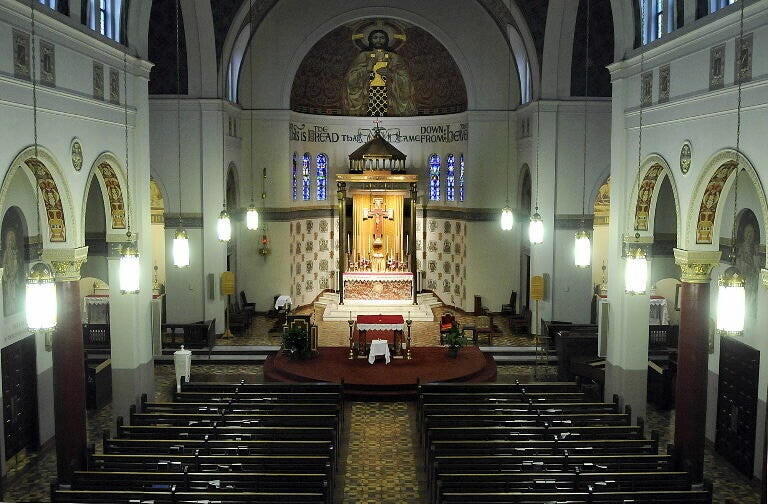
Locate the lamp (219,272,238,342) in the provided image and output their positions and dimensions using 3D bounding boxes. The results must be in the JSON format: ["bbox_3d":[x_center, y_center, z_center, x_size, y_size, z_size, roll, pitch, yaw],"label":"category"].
[{"bbox_3d":[-6.598,2.138,27.704,0.516,2.789,2.189,-2,4,-11],"label":"lamp"}]

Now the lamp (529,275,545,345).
[{"bbox_3d":[6.286,2.233,26.752,0.523,2.654,1.468,0,4,14],"label":"lamp"}]

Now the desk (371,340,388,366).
[{"bbox_3d":[-0.161,3.597,23.449,0.726,0.705,0.738,0,0,-15],"label":"desk"}]

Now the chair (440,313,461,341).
[{"bbox_3d":[2.639,3.082,26.421,0.842,1.272,0.913,0,0,2],"label":"chair"}]

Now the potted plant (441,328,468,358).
[{"bbox_3d":[2.562,3.368,24.347,1.005,1.089,0.964,0,3,-3],"label":"potted plant"}]
